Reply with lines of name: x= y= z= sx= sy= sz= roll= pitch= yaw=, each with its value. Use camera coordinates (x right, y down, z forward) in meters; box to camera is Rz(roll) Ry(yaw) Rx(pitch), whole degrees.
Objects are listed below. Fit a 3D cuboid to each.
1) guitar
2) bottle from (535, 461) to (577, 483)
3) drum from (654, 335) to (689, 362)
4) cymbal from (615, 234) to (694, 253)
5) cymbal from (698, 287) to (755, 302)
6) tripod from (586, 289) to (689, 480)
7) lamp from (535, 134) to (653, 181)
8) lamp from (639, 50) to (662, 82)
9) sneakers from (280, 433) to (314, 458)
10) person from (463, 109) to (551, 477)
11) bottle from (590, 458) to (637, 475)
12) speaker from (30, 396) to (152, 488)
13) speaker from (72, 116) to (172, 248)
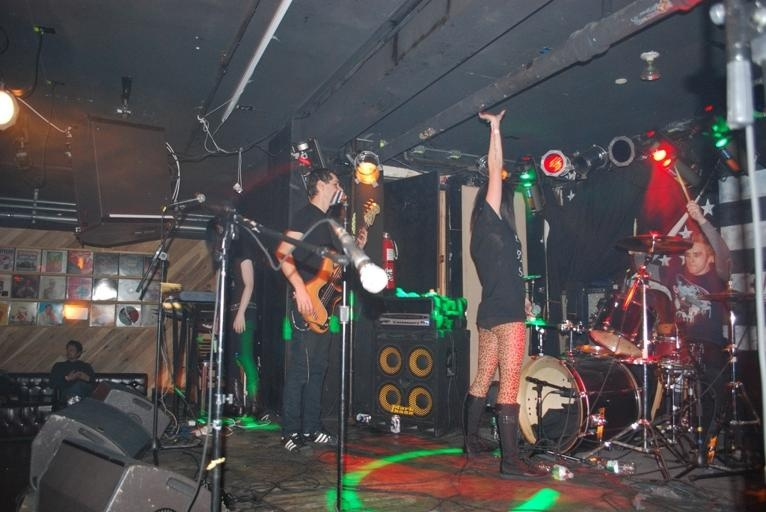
guitar: x=-0.567 y=-0.018 z=7.010 sx=0.189 sy=1.611 sz=0.648 roll=15 pitch=-18 yaw=37
bottle: x=1.622 y=2.043 z=6.371 sx=0.270 sy=0.154 sz=0.065 roll=7 pitch=0 yaw=-39
drum: x=3.003 y=0.948 z=7.033 sx=0.316 sy=0.303 sz=0.316 roll=2 pitch=-19 yaw=-1
cymbal: x=2.895 y=-0.139 z=7.282 sx=0.686 sy=0.217 sz=0.541 roll=1 pitch=4 yaw=-1
cymbal: x=3.567 y=0.422 z=7.012 sx=0.469 sy=0.162 sz=0.540 roll=3 pitch=4 yaw=25
tripod: x=2.613 y=1.206 z=6.924 sx=0.712 sy=1.831 sz=1.041 roll=2 pitch=4 yaw=24
lamp: x=2.912 y=-1.375 z=9.468 sx=1.378 sy=0.584 sz=0.736 roll=2 pitch=4 yaw=15
lamp: x=3.062 y=-2.199 z=7.776 sx=0.283 sy=0.295 sz=0.273 roll=-1 pitch=5 yaw=4
sneakers: x=-0.900 y=1.915 z=6.882 sx=0.429 sy=0.201 sz=0.259 roll=2 pitch=4 yaw=21
person: x=1.174 y=0.322 z=6.558 sx=0.433 sy=3.486 sz=0.808 roll=-3 pitch=5 yaw=-43
bottle: x=2.205 y=2.033 z=6.508 sx=0.228 sy=0.082 sz=0.181 roll=4 pitch=-7 yaw=-39
speaker: x=-2.583 y=1.537 z=5.942 sx=0.815 sy=0.556 sz=0.820 roll=3 pitch=-6 yaw=-17
speaker: x=-3.149 y=-0.994 z=8.133 sx=1.097 sy=1.388 sz=0.696 roll=-1 pitch=4 yaw=-24
